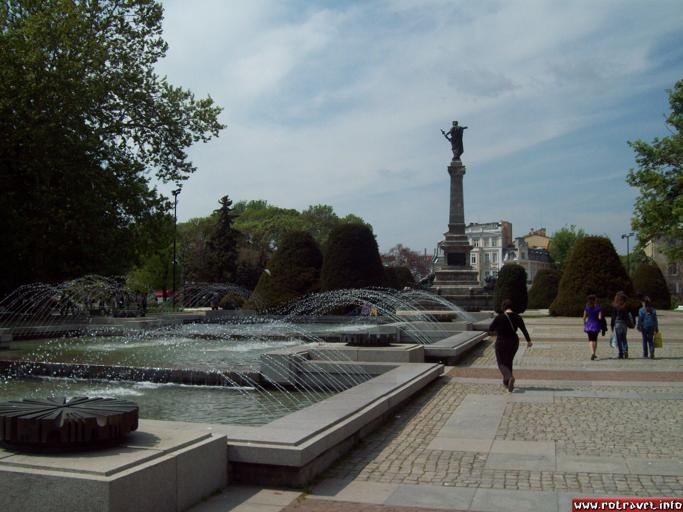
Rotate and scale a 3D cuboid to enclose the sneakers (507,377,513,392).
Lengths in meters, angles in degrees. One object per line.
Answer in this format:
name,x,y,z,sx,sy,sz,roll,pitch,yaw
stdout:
sneakers,3.337,2.541,11.948,0.137,0.277,0.121,0,3,-4
